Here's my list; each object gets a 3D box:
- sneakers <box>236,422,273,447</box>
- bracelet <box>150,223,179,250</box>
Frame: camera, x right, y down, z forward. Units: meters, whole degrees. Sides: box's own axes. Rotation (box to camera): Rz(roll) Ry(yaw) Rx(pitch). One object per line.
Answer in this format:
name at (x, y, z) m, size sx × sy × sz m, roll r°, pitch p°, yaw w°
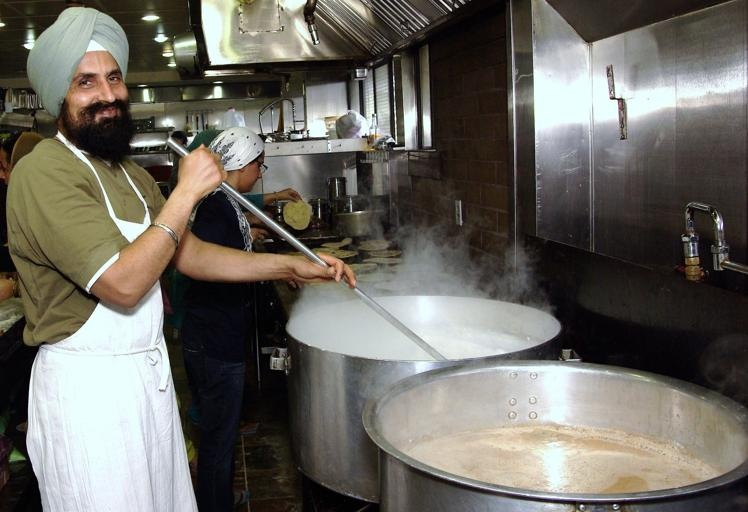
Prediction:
sneakers at (-0.702, 1.047, 3.454) m, size 0.195 × 0.091 × 0.074 m, roll 1°, pitch 2°, yaw 1°
bracelet at (-0.551, -0.051, 1.547) m, size 0.057 × 0.060 × 0.016 m, roll 22°, pitch 52°, yaw 38°
